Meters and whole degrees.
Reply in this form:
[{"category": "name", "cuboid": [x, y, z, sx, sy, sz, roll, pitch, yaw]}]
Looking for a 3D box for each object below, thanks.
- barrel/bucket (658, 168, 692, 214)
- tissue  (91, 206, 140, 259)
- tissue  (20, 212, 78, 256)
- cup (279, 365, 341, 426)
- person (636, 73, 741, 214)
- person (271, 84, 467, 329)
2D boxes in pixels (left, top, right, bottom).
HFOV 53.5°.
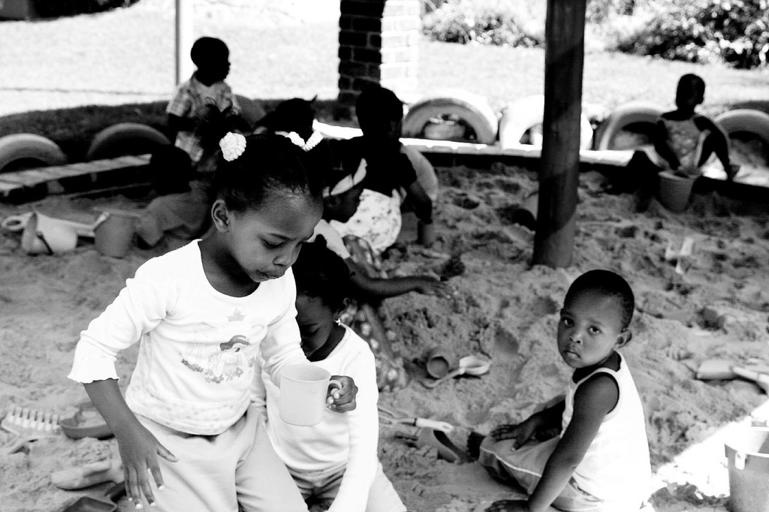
[{"category": "barrel/bucket", "cuboid": [2.479, -0.580, 6.708, 0.327, 0.357, 0.333, 5, 12, -1]}, {"category": "tissue ", "cuboid": [-2.073, -0.191, 5.991, 0.329, 0.355, 0.245, 11, 21, 35]}, {"category": "tissue ", "cuboid": [-2.545, -0.179, 5.981, 0.459, 0.312, 0.461, -8, 14, -11]}, {"category": "cup", "cuboid": [-0.352, 0.633, 3.370, 0.224, 0.306, 0.123, 1, 15, -5]}, {"category": "person", "cuboid": [2.689, -1.000, 6.800, 0.769, 1.243, 0.681, 2, 24, 5]}, {"category": "person", "cuboid": [-0.104, -0.204, 5.157, 1.167, 1.650, 1.092, -8, 20, -6]}]
